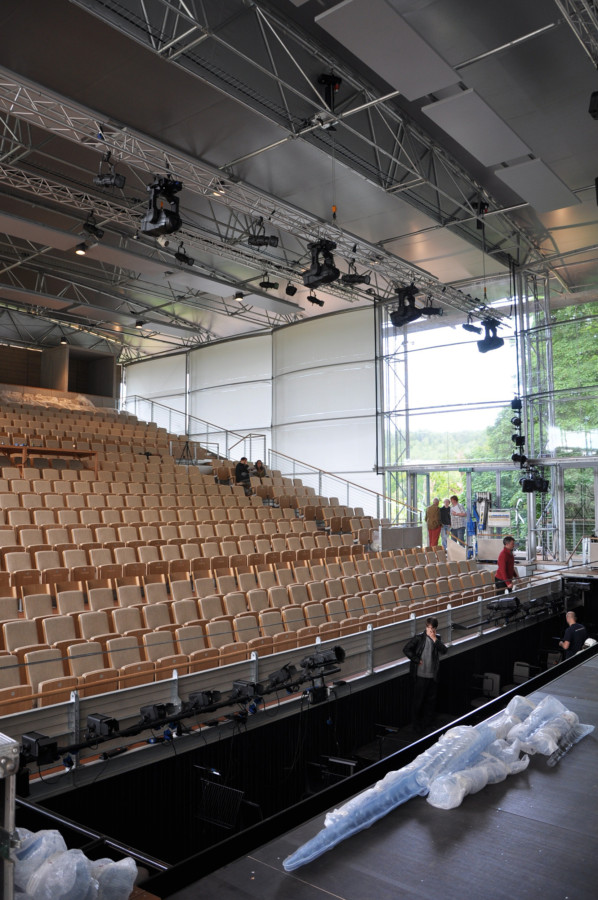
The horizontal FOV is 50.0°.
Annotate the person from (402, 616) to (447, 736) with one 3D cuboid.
[{"bbox_3d":[1.103,1.989,5.618,0.349,0.982,0.441,-2,-8,8],"label":"person"}]
